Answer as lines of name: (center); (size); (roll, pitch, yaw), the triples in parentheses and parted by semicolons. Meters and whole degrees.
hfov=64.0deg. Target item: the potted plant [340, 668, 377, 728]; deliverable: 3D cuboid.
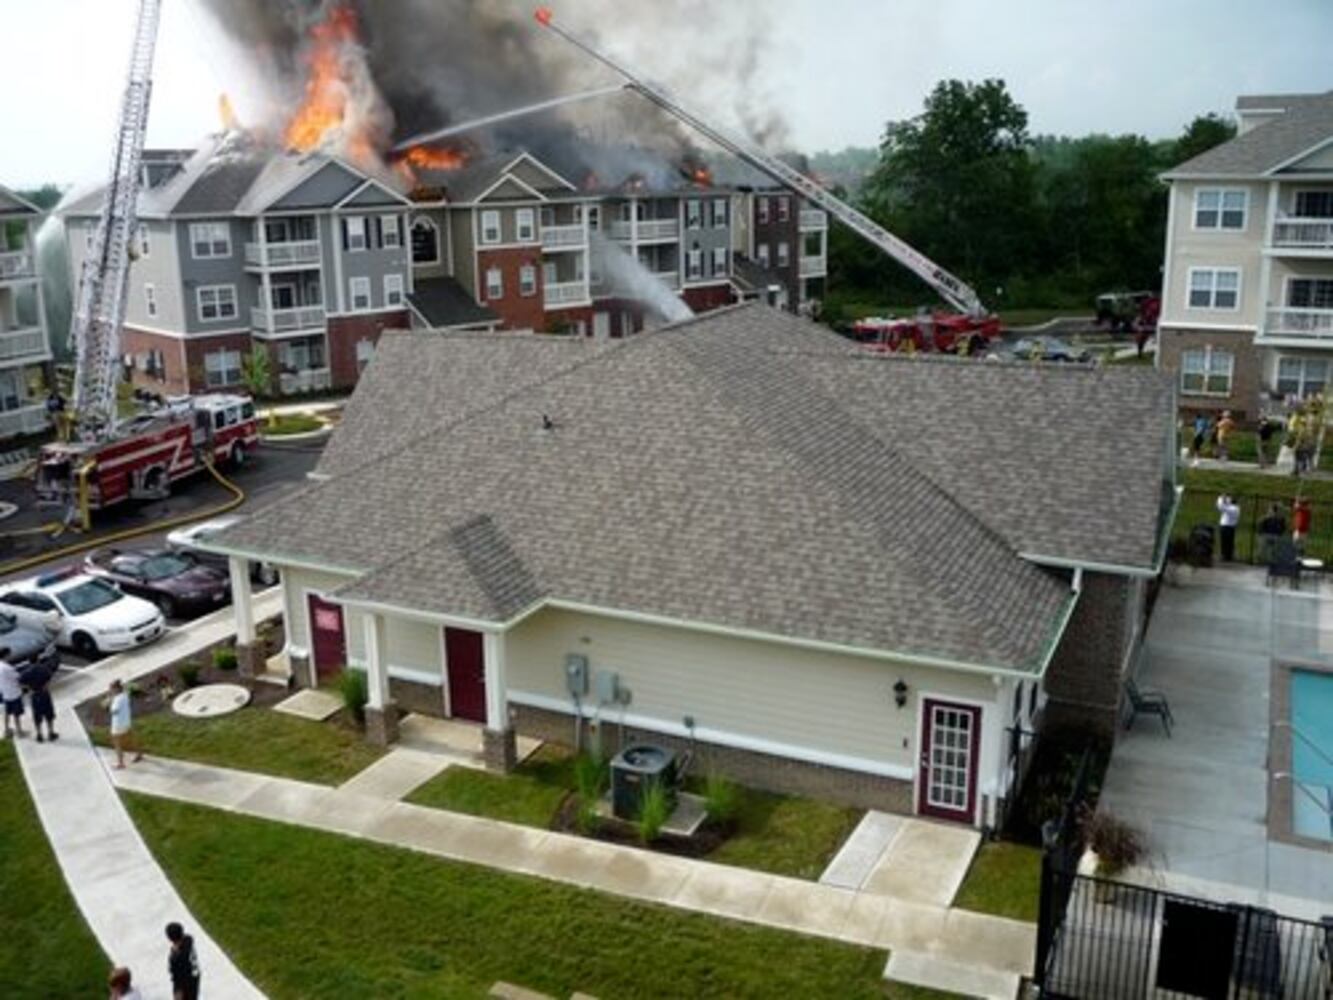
potted plant: (-6.775, 4.303, 23.415); (0.551, 1.148, 1.276); (-7, 12, -32)

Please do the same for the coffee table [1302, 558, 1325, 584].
coffee table: (18.362, 1.900, 30.258); (0.606, 0.630, 0.982); (6, 12, 31)

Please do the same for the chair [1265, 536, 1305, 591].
chair: (17.520, 1.710, 30.190); (0.840, 1.109, 1.511); (6, 12, 31)

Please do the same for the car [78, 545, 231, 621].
car: (-14.345, 2.032, 30.016); (3.893, 1.205, 1.998); (12, 20, 24)

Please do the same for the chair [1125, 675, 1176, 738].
chair: (10.573, 4.399, 23.283); (1.213, 1.156, 0.987); (7, 19, 26)

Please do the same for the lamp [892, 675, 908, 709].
lamp: (4.321, 3.531, 19.689); (0.289, 0.608, 0.254); (2, 11, 12)

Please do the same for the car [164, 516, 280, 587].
car: (-11.626, 1.367, 28.011); (3.432, 1.192, 1.544); (7, 13, 23)
